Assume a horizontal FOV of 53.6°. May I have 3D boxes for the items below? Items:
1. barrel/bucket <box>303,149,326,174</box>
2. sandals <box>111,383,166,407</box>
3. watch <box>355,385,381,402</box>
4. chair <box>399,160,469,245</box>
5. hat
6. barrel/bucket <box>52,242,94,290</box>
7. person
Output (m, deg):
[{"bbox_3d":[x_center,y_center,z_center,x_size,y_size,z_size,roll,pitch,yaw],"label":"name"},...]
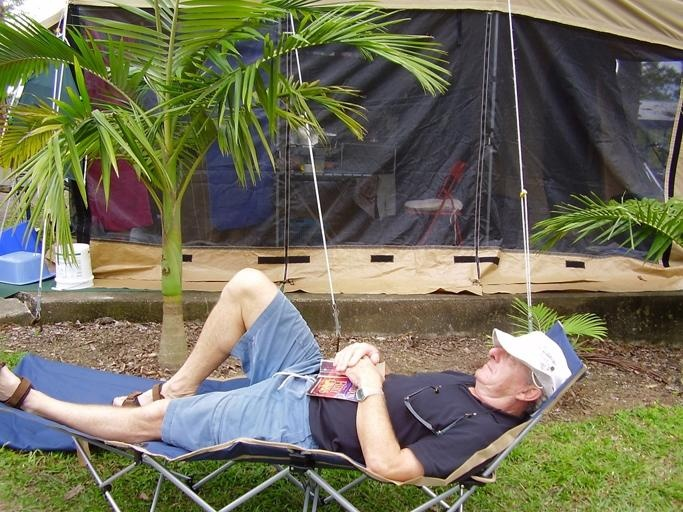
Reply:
[{"bbox_3d":[-0.237,-0.805,5.924,0.202,0.161,0.207,1,-17,0],"label":"barrel/bucket"},{"bbox_3d":[-1.147,0.776,3.723,0.336,0.151,0.124,-1,6,-11],"label":"sandals"},{"bbox_3d":[0.128,0.705,3.301,0.100,0.067,0.103,10,-25,-7],"label":"watch"},{"bbox_3d":[0.786,-0.464,6.118,0.594,0.835,0.507,0,16,2],"label":"chair"},{"bbox_3d":[0.945,0.464,3.394,0.198,0.384,0.283,-42,3,15],"label":"hat"},{"bbox_3d":[-2.166,0.094,5.479,0.326,0.371,0.346,1,6,0],"label":"barrel/bucket"},{"bbox_3d":[-0.342,0.638,3.766,2.845,0.928,1.196,11,-7,10],"label":"person"}]
